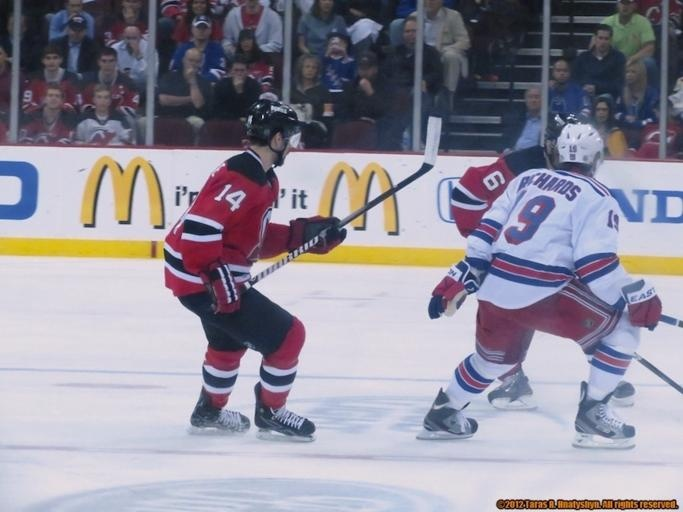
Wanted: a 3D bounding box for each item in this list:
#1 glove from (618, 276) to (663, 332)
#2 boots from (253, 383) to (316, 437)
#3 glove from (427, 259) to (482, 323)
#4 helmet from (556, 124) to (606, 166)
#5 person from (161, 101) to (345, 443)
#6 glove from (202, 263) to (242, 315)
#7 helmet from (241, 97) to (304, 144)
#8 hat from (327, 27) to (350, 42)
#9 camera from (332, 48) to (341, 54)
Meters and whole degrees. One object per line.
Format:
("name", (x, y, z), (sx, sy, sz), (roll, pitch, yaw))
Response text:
("glove", (1.564, 0.240, 6.505), (0.235, 0.246, 0.098), (-5, 14, 6))
("boots", (-0.327, 0.839, 6.857), (0.503, 0.285, 0.164), (4, 8, 19))
("glove", (0.590, 0.174, 6.612), (0.360, 0.217, 0.143), (-40, 33, -8))
("helmet", (1.285, -0.597, 6.713), (0.218, 0.222, 0.255), (3, 10, 18))
("person", (-0.498, 0.047, 6.753), (0.918, 1.781, 0.561), (7, 6, -3))
("glove", (-0.621, 0.160, 6.542), (0.195, 0.252, 0.099), (-6, 7, 6))
("helmet", (-0.384, -0.733, 6.784), (0.308, 0.257, 0.228), (-5, 11, -18))
("hat", (-0.020, -1.926, 10.886), (0.196, 0.118, 0.054), (3, 8, -35))
("camera", (-0.045, -1.779, 10.862), (0.085, 0.054, 0.018), (3, 7, -30))
